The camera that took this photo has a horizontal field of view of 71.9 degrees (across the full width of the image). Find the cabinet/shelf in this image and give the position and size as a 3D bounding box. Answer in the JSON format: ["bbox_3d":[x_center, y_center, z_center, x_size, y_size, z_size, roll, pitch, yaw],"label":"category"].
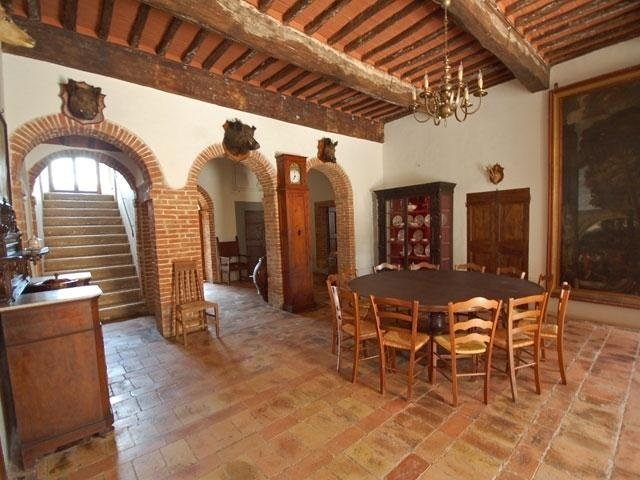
[{"bbox_3d":[1.819,-0.263,8.287,0.504,2.167,1.689,-2,3,-45],"label":"cabinet/shelf"}]

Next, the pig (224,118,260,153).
[{"bbox_3d":[-1.306,-1.650,7.245,0.636,0.621,0.577,5,16,9],"label":"pig"}]

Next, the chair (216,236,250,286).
[{"bbox_3d":[-2.161,0.493,10.955,0.760,1.091,0.827,-4,4,-21],"label":"chair"}]

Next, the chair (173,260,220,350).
[{"bbox_3d":[-1.897,0.871,6.657,0.712,1.181,0.914,-4,4,-26],"label":"chair"}]
